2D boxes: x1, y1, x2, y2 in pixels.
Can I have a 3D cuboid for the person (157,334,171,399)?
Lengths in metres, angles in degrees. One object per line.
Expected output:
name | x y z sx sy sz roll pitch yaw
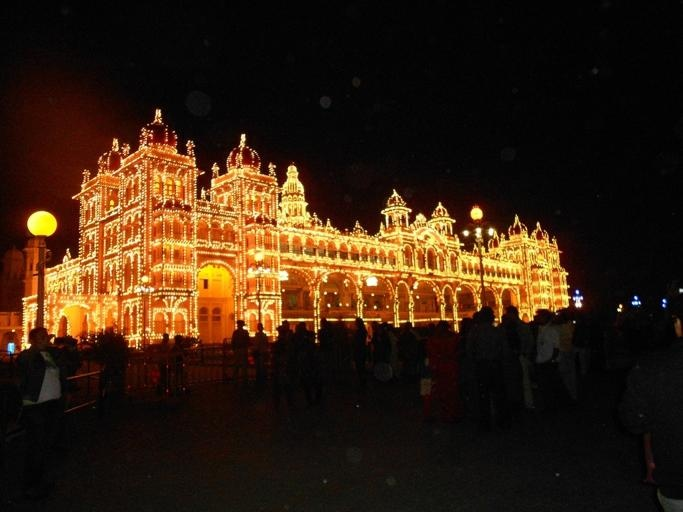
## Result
person | -4.827 2.947 16.403 0.300 1.552 0.297 -2 -9 -2
